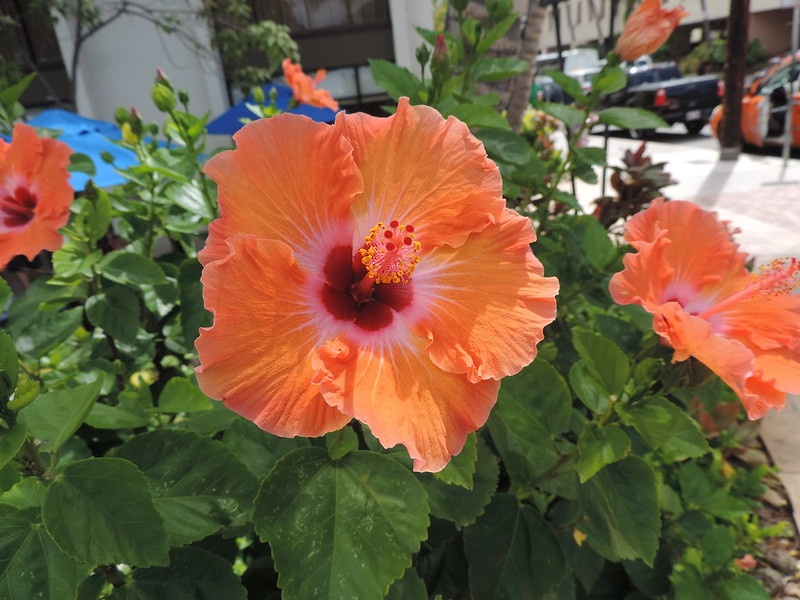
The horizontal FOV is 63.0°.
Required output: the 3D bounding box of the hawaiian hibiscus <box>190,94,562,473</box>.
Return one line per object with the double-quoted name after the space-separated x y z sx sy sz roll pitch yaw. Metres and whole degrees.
-0.040 -0.049 1.577 0.815 0.776 0.545 4 24 13 "hawaiian hibiscus"
